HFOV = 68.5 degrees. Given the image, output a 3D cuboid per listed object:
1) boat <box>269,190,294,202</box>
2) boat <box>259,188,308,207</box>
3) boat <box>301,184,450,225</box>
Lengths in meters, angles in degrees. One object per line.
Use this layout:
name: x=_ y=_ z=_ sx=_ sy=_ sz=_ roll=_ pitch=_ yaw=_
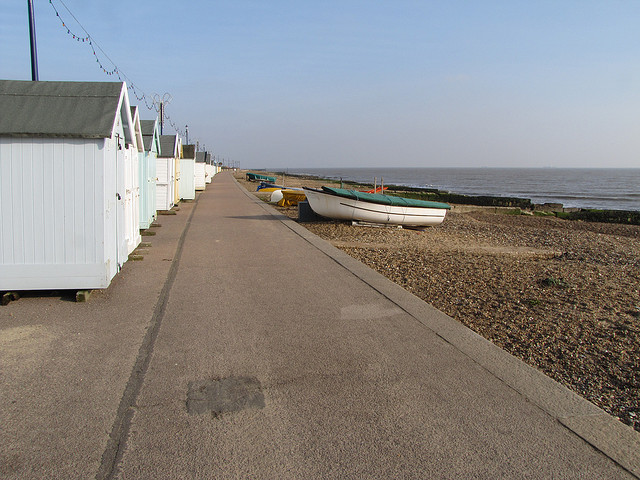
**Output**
boat: x=-2.401 y=-2.539 z=26.544 sx=0.494 sy=0.734 sz=1.417 roll=-5 pitch=11 yaw=-24
boat: x=-1.991 y=-2.420 z=26.177 sx=2.609 sy=0.606 sz=2.880 roll=12 pitch=8 yaw=34
boat: x=2.925 y=-1.424 z=19.452 sx=6.942 sy=1.569 sz=2.145 roll=7 pitch=2 yaw=-18
